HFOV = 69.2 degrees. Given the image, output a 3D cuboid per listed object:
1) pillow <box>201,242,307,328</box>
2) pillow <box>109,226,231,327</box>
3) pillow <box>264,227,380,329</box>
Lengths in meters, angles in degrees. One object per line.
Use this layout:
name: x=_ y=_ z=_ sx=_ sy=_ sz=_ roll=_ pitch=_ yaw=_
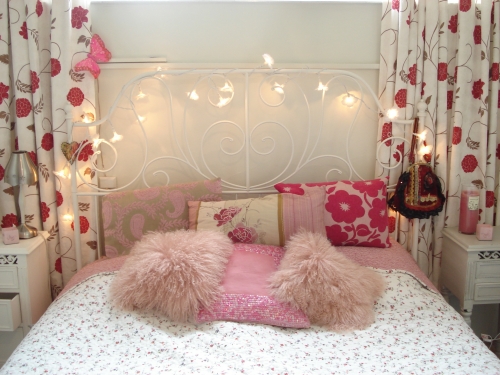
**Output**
pillow: x=0.042 y=0.439 z=1.684 sx=0.343 sy=0.092 sz=0.391 roll=4 pitch=53 yaw=4
pillow: x=-0.366 y=0.308 z=1.745 sx=0.418 sy=0.204 sz=0.468 roll=6 pitch=37 yaw=13
pillow: x=0.367 y=0.457 z=1.813 sx=0.519 sy=0.373 sz=0.306 roll=1 pitch=10 yaw=13
